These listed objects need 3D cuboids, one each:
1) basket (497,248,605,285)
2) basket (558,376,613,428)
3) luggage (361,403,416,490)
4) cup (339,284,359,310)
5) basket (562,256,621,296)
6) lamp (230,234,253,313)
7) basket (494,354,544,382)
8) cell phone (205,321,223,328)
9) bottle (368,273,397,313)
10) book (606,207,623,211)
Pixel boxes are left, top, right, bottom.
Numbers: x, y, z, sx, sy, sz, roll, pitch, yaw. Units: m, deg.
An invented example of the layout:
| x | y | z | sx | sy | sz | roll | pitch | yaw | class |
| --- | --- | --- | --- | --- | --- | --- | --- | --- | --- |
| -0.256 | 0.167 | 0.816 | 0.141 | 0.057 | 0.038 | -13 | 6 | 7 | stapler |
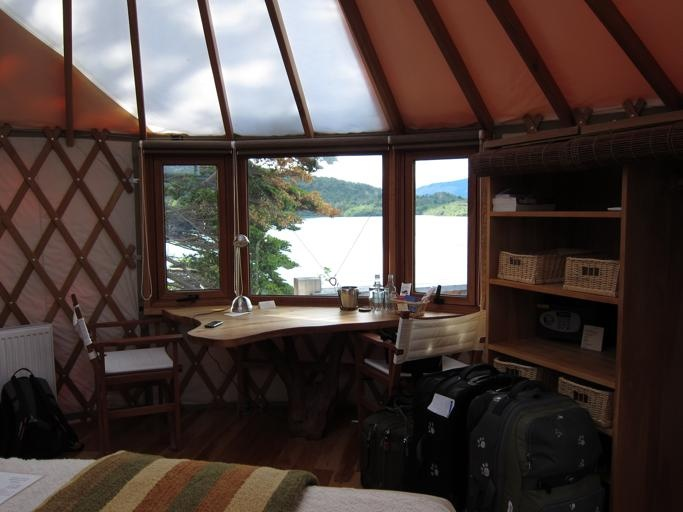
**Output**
| x | y | z | sx | sy | sz | roll | pitch | yaw | class |
| --- | --- | --- | --- | --- | --- | --- | --- | --- | --- |
| 1.005 | 0.049 | 2.774 | 0.306 | 0.119 | 0.213 | -4 | 6 | -40 | basket |
| 1.158 | 0.693 | 2.533 | 0.181 | 0.110 | 0.225 | 7 | -3 | -28 | basket |
| 0.262 | 1.063 | 2.921 | 0.374 | 0.397 | 0.277 | -1 | 0 | 25 | luggage |
| 0.059 | 0.303 | 3.964 | 0.154 | 0.170 | 0.154 | 0 | 5 | 0 | cup |
| 1.175 | 0.084 | 2.495 | 0.175 | 0.114 | 0.177 | 8 | 2 | 21 | basket |
| -0.764 | 0.119 | 4.015 | 0.149 | 0.593 | 0.447 | -1 | 0 | -10 | lamp |
| 0.962 | 0.596 | 2.850 | 0.114 | 0.057 | 0.142 | -1 | 6 | -40 | basket |
| -0.818 | 0.439 | 3.443 | 0.093 | 0.044 | 0.189 | -1 | 0 | 4 | cell phone |
| 0.309 | 0.275 | 3.901 | 0.262 | 0.362 | 0.138 | 1 | -3 | -9 | bottle |
| 1.307 | -0.227 | 2.537 | 0.062 | 0.008 | 0.071 | 1 | 9 | 11 | book |
